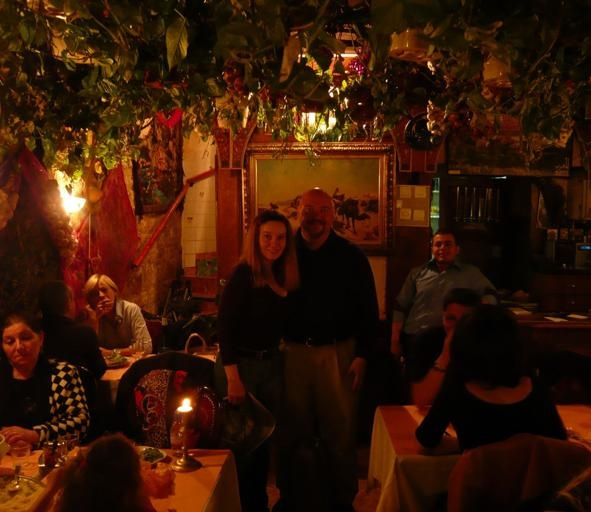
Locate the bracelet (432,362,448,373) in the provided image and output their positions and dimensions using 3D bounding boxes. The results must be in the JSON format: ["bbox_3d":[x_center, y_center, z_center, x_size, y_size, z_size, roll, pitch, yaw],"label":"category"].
[{"bbox_3d":[0.805,0.628,2.905,0.063,0.018,0.064,2,3,1],"label":"bracelet"}]
